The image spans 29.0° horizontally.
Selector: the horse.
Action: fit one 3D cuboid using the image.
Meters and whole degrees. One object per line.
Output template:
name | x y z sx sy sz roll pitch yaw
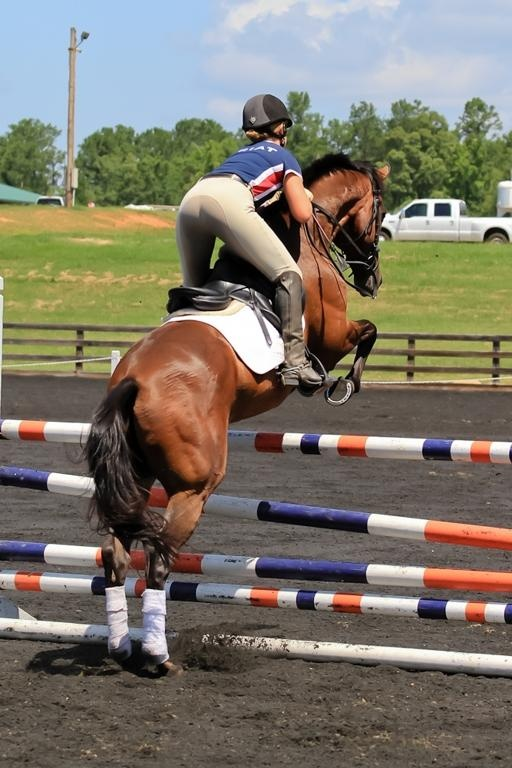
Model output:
horse | 0.013 -0.064 4.574 0.852 2.285 2.383 3 3 15
